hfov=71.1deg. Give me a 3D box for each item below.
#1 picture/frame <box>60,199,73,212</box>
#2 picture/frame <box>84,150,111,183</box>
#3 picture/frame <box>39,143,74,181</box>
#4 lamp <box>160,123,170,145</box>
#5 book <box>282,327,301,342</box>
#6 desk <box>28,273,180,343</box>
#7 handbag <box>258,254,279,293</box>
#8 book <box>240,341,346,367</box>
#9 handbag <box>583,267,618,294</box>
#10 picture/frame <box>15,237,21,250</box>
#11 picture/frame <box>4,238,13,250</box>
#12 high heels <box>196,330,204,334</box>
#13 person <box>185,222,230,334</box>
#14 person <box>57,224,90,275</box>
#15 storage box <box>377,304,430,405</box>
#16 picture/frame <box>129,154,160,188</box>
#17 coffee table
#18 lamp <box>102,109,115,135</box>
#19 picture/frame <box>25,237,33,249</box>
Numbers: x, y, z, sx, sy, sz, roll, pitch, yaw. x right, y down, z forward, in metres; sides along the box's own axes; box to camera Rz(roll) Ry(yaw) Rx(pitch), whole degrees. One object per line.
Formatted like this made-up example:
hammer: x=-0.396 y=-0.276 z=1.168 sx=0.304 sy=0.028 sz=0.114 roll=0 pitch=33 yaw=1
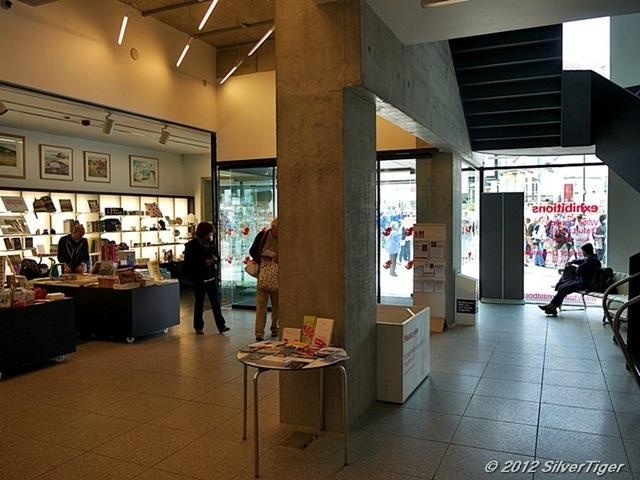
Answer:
picture/frame: x=-6.196 y=-0.850 z=10.975 sx=0.123 sy=0.307 sz=0.348 roll=1 pitch=4 yaw=24
picture/frame: x=-5.931 y=-1.957 z=11.876 sx=0.058 sy=0.780 sz=0.901 roll=-3 pitch=-2 yaw=19
picture/frame: x=-6.452 y=-1.900 z=10.895 sx=0.071 sy=0.920 sz=0.966 roll=-3 pitch=-2 yaw=24
lamp: x=-3.344 y=-2.299 z=9.625 sx=0.206 sy=0.346 sz=0.369 roll=9 pitch=29 yaw=-13
book: x=-0.291 y=0.968 z=4.610 sx=0.138 sy=0.135 sz=0.033 roll=-3 pitch=-11 yaw=25
desk: x=-4.233 y=1.179 z=8.060 sx=1.813 sy=0.825 sz=1.012 roll=5 pitch=5 yaw=-16
handbag: x=-0.906 y=0.579 z=7.701 sx=0.364 sy=0.590 sz=0.161 roll=0 pitch=4 yaw=11
book: x=-0.259 y=1.065 z=4.173 sx=0.998 sy=0.069 sz=0.691 roll=0 pitch=5 yaw=5
handbag: x=5.284 y=0.763 z=8.529 sx=0.370 sy=0.551 sz=0.507 roll=12 pitch=-12 yaw=21
picture/frame: x=-6.629 y=0.075 z=9.831 sx=0.077 sy=0.253 sz=0.162 roll=1 pitch=4 yaw=19
picture/frame: x=-6.730 y=0.071 z=9.693 sx=0.185 sy=0.249 sz=0.052 roll=-2 pitch=4 yaw=-28
high heels: x=-2.198 y=1.677 z=8.223 sx=0.135 sy=0.061 sz=0.051 roll=-2 pitch=4 yaw=17
person: x=-2.087 y=0.688 z=8.135 sx=0.740 sy=2.038 sz=0.499 roll=-2 pitch=4 yaw=-30
person: x=-5.070 y=0.204 z=9.203 sx=0.560 sy=1.022 sz=1.393 roll=-2 pitch=5 yaw=-30
storage box: x=1.070 y=1.379 z=5.730 sx=0.777 sy=1.030 sz=1.503 roll=0 pitch=2 yaw=16
picture/frame: x=-5.184 y=-2.028 z=13.121 sx=0.064 sy=0.883 sz=1.015 roll=-3 pitch=-3 yaw=24
coffee table: x=-0.232 y=1.453 z=4.293 sx=1.019 sy=0.858 sz=1.047 roll=0 pitch=-2 yaw=32
lamp: x=-4.021 y=-2.198 z=8.512 sx=0.147 sy=0.389 sz=0.820 roll=-2 pitch=5 yaw=-27
picture/frame: x=-6.530 y=0.060 z=10.051 sx=0.150 sy=0.251 sz=0.153 roll=-3 pitch=5 yaw=-39
